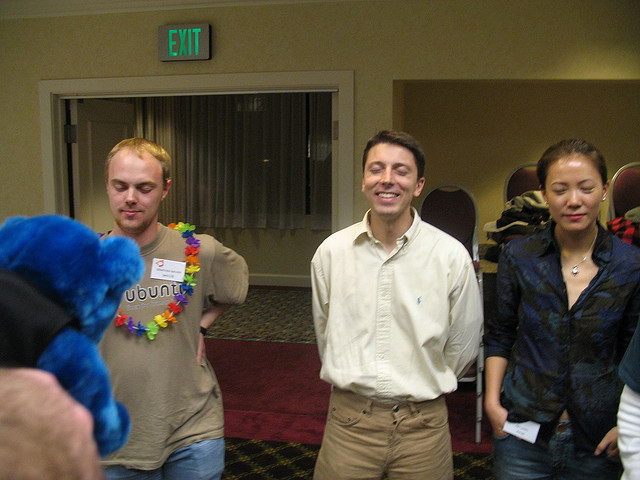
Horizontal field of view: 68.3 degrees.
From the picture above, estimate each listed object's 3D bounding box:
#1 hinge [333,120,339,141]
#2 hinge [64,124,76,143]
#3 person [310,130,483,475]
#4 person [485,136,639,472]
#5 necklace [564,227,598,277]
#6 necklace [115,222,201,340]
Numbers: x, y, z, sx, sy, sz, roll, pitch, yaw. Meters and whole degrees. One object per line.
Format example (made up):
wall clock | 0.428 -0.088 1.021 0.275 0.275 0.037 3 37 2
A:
hinge | 0.157 -1.055 4.595 0.060 0.189 0.032 1 7 12
hinge | -2.660 -1.128 5.099 0.156 0.171 0.040 1 1 -13
person | 0.279 0.229 1.677 0.611 1.223 0.316 0 7 -2
person | 0.787 0.229 1.548 0.446 1.106 0.275 2 8 20
necklace | 0.848 0.047 1.536 0.091 0.144 0.051 3 8 23
necklace | -0.607 0.167 1.826 0.302 0.380 0.065 30 -24 -33
